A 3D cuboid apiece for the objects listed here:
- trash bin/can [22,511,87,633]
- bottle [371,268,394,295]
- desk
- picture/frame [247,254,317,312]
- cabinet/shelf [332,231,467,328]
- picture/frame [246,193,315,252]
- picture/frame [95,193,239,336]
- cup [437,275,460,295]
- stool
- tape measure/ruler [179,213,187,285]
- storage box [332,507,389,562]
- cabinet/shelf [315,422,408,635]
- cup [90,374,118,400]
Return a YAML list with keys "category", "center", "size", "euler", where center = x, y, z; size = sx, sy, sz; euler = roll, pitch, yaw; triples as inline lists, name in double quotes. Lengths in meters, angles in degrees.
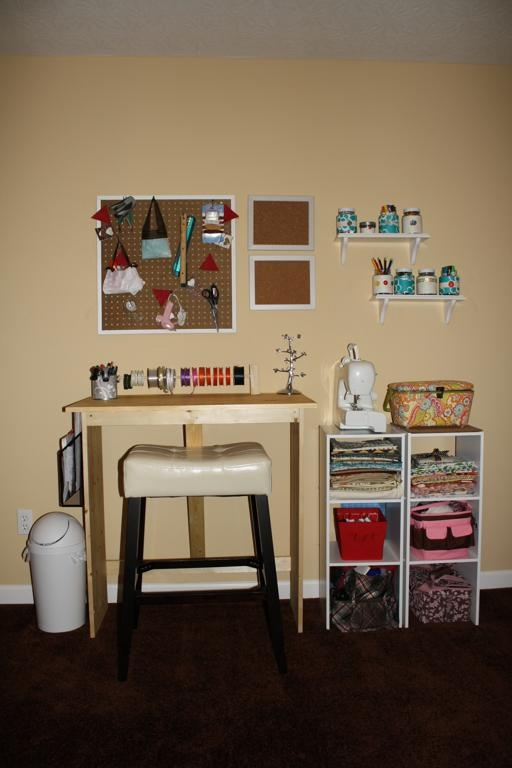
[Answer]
- category: "trash bin/can"
  center: [-0.805, 0.764, 2.603]
  size: [0.223, 0.463, 0.231]
  euler: [1, 3, 24]
- category: "bottle"
  center: [0.543, -0.440, 2.749]
  size: [0.083, 0.098, 0.088]
  euler: [1, 1, 9]
- category: "desk"
  center: [-0.301, 0.526, 2.554]
  size: [0.798, 0.952, 0.393]
  euler: [-1, 1, -5]
- category: "picture/frame"
  center: [0.100, -0.453, 2.818]
  size: [0.211, 0.207, 0.010]
  euler: [-1, 4, -5]
- category: "cabinet/shelf"
  center: [0.613, -0.480, 2.827]
  size: [0.360, 0.313, 0.129]
  euler: [0, 1, -3]
- category: "picture/frame"
  center: [0.096, -0.718, 2.806]
  size: [0.213, 0.200, 0.015]
  euler: [0, 3, -3]
- category: "picture/frame"
  center: [-0.415, -0.537, 2.788]
  size: [0.515, 0.581, 0.048]
  euler: [-1, 6, 0]
- category: "cup"
  center: [0.837, -0.427, 2.773]
  size: [0.070, 0.085, 0.080]
  euler: [-1, 3, 12]
- category: "stool"
  center: [-0.168, 0.632, 2.596]
  size: [0.660, 0.961, 0.708]
  euler: [0, -2, -5]
- category: "tape measure/ruler"
  center: [-0.317, -0.582, 2.784]
  size: [0.037, 0.301, 0.038]
  euler: [-1, 7, -7]
- category: "storage box"
  center: [0.458, 0.654, 2.668]
  size: [0.168, 0.148, 0.229]
  euler: [2, -14, 6]
- category: "cabinet/shelf"
  center: [0.437, 0.573, 2.693]
  size: [0.342, 0.774, 0.390]
  euler: [0, 7, 4]
- category: "cup"
  center: [-0.605, 0.010, 2.572]
  size: [0.080, 0.101, 0.097]
  euler: [0, -2, -4]
